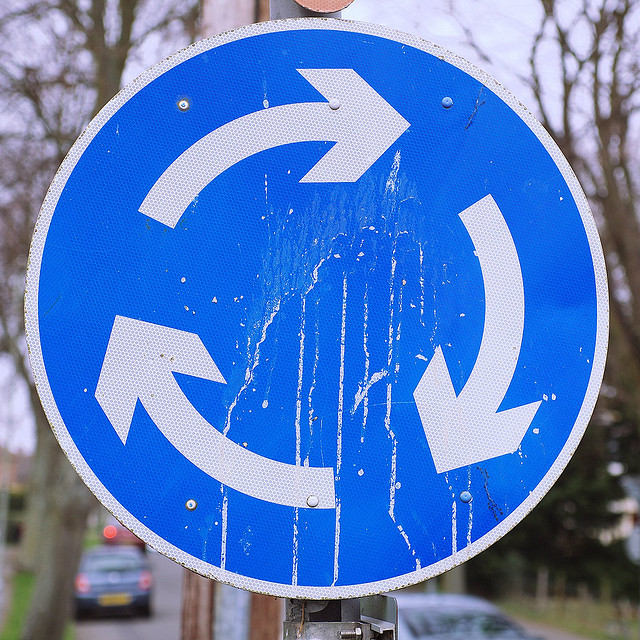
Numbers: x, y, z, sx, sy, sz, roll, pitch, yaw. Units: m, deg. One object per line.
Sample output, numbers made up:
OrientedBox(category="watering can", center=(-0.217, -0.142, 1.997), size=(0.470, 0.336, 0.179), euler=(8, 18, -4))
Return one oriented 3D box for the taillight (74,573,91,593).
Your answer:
OrientedBox(category="taillight", center=(-1.382, 1.531, 8.853), size=(0.086, 0.045, 0.163), euler=(4, 72, -33))
